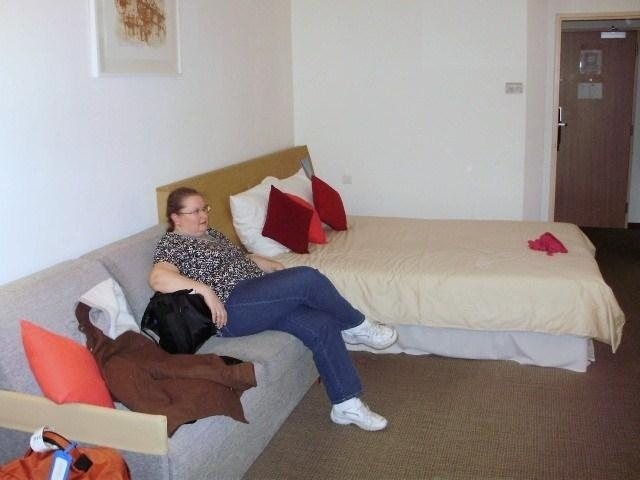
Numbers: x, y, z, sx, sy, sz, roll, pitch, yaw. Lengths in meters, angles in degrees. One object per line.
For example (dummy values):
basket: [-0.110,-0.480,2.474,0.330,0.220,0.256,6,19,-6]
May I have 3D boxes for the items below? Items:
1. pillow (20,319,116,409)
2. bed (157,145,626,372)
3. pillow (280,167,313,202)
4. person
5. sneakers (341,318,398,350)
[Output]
pillow: [-0.939,0.497,1.801,0.238,0.418,0.200,-16,21,-34]
bed: [0.685,0.137,3.539,2.094,1.039,1.952,4,26,13]
pillow: [-0.192,-0.450,4.063,0.072,0.271,0.268,-6,16,24]
person: [-0.252,0.324,2.764,1.204,1.503,0.809,-8,4,17]
sneakers: [0.295,0.602,2.912,0.318,0.154,0.178,-1,35,7]
